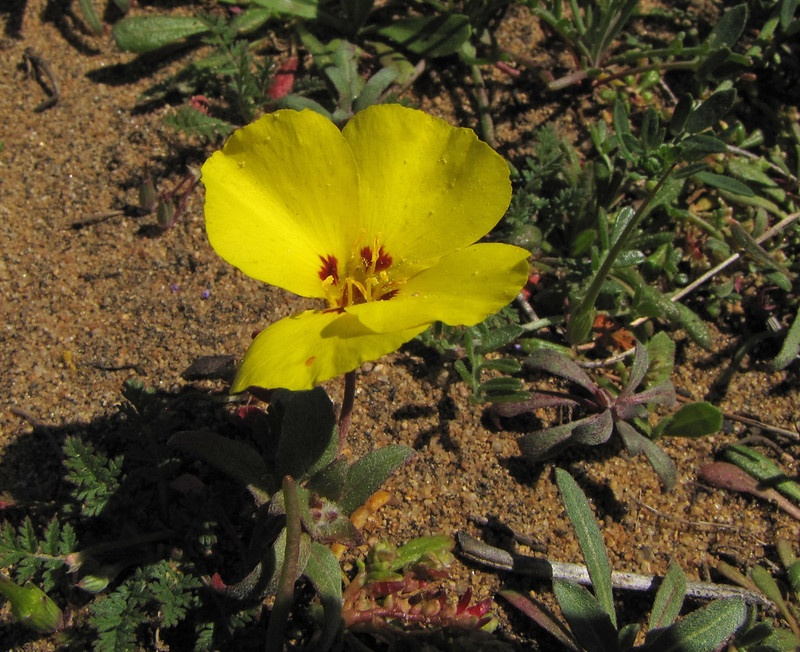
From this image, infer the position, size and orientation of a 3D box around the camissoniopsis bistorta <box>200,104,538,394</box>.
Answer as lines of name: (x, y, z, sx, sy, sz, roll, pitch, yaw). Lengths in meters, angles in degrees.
camissoniopsis bistorta: (-0.165, -0.409, 3.017, 1.139, 0.593, 1.217, -13, 79, -10)
